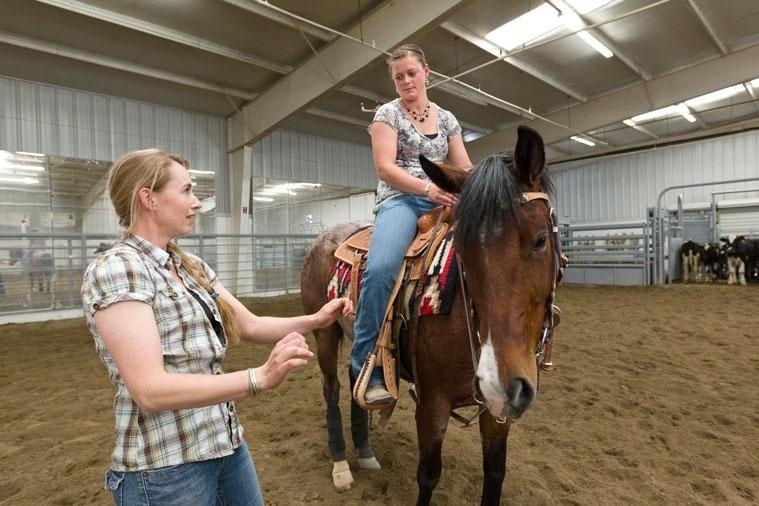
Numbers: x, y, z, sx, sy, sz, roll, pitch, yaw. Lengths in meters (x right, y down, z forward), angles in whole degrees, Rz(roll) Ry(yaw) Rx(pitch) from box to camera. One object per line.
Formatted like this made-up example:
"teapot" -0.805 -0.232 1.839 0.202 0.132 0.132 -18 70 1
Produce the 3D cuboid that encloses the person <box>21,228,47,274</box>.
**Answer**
"person" -7.428 0.012 10.283 0.434 0.807 0.345 -5 3 -34

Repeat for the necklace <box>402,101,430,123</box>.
"necklace" 0.383 -1.356 4.747 0.203 0.088 0.220 -5 45 -9
